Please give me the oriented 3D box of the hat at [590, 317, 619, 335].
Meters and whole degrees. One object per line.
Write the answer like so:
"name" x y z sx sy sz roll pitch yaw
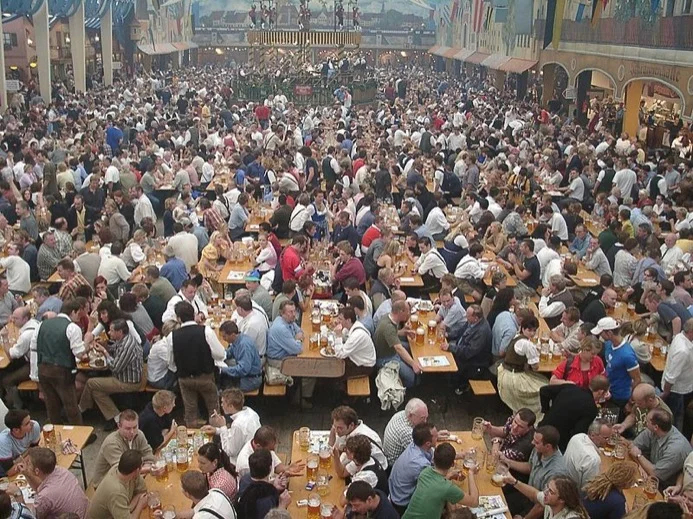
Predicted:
"hat" 4.178 1.080 10.502 0.361 0.191 0.254 -13 14 25

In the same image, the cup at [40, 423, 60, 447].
"cup" -4.195 2.501 9.129 0.182 0.375 0.435 -5 14 -26
